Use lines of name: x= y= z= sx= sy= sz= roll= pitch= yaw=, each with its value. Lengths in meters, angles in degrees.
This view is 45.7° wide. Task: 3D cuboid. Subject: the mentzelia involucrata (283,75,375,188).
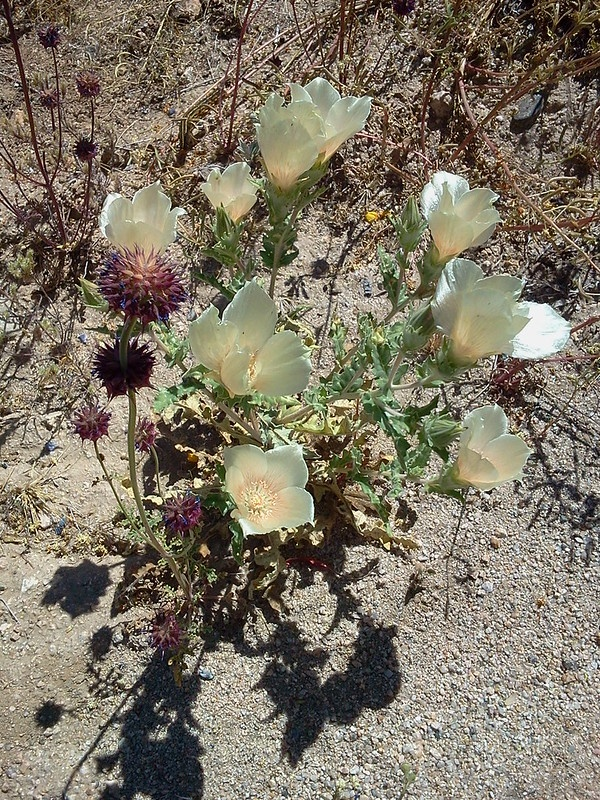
mentzelia involucrata: x=0.057 y=-0.925 z=2.469 sx=0.339 sy=0.194 sz=0.325 roll=19 pitch=8 yaw=-10

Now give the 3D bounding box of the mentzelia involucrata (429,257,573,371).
mentzelia involucrata: x=0.573 y=-0.257 z=2.325 sx=0.385 sy=0.287 sz=0.386 roll=4 pitch=42 yaw=-29

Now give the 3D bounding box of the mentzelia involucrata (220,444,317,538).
mentzelia involucrata: x=-0.109 y=0.280 z=2.287 sx=0.307 sy=0.167 sz=0.296 roll=-3 pitch=72 yaw=-20

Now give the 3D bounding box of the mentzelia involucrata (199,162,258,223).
mentzelia involucrata: x=-0.246 y=-0.721 z=2.512 sx=0.201 sy=0.225 sz=0.153 roll=-13 pitch=41 yaw=-17

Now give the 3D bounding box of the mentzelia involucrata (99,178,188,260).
mentzelia involucrata: x=-0.463 y=-0.502 z=2.116 sx=0.308 sy=0.191 sz=0.245 roll=8 pitch=5 yaw=28

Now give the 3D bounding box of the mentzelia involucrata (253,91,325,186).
mentzelia involucrata: x=-0.064 y=-0.887 z=2.399 sx=0.262 sy=0.260 sz=0.251 roll=-3 pitch=60 yaw=-8

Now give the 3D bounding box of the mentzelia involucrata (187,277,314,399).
mentzelia involucrata: x=-0.143 y=-0.149 z=2.156 sx=0.240 sy=0.384 sz=0.313 roll=-5 pitch=54 yaw=51
